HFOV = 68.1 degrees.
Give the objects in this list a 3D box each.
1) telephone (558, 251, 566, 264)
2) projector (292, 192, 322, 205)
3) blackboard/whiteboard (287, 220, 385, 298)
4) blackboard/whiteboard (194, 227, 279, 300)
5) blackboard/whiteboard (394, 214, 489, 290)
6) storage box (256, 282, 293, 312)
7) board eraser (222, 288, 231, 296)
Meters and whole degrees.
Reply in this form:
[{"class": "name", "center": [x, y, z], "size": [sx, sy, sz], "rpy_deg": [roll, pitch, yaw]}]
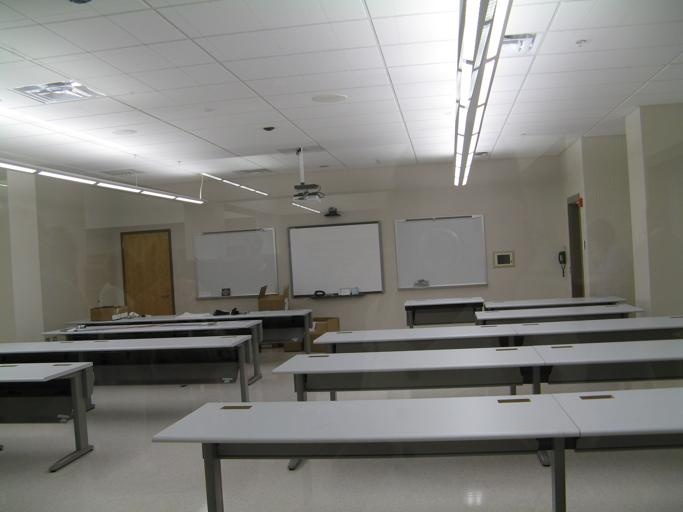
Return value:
[{"class": "telephone", "center": [3.872, 0.024, 8.841], "size": [0.140, 0.204, 0.057], "rpy_deg": [-2, -2, 12]}, {"class": "projector", "center": [-0.554, -0.998, 8.407], "size": [0.340, 0.128, 0.348], "rpy_deg": [-1, 0, 4]}, {"class": "blackboard/whiteboard", "center": [-0.044, 0.009, 9.360], "size": [1.328, 1.075, 0.091], "rpy_deg": [-2, 0, 1]}, {"class": "blackboard/whiteboard", "center": [-1.978, 0.130, 9.401], "size": [1.260, 1.069, 0.149], "rpy_deg": [-1, 0, -2]}, {"class": "blackboard/whiteboard", "center": [1.885, -0.073, 9.185], "size": [1.281, 1.001, 0.089], "rpy_deg": [-2, 0, 8]}, {"class": "storage box", "center": [-1.251, 0.734, 9.251], "size": [0.358, 0.501, 0.504], "rpy_deg": [0, -1, 4]}, {"class": "board eraser", "center": [-2.163, 0.665, 9.398], "size": [0.135, 0.132, 0.019], "rpy_deg": [1, -2, -5]}]
